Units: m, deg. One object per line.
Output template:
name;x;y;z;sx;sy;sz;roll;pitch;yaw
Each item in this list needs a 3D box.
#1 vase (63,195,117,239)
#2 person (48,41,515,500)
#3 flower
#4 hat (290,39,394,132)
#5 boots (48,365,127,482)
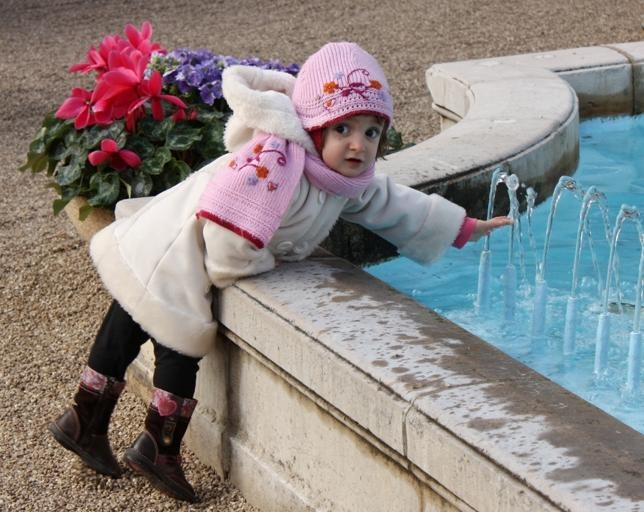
vase;-0.983;-0.160;3.833;0.188;0.145;0.203;-12;44;-40
person;-0.285;0.028;3.204;1.536;1.431;0.641;-23;31;-29
flower;-0.756;-0.664;3.845;0.690;0.387;0.578;22;-1;0
hat;0.077;-0.603;3.104;0.377;0.300;0.375;-9;18;-32
boots;-0.772;0.593;3.239;0.309;0.324;0.158;30;6;-1
